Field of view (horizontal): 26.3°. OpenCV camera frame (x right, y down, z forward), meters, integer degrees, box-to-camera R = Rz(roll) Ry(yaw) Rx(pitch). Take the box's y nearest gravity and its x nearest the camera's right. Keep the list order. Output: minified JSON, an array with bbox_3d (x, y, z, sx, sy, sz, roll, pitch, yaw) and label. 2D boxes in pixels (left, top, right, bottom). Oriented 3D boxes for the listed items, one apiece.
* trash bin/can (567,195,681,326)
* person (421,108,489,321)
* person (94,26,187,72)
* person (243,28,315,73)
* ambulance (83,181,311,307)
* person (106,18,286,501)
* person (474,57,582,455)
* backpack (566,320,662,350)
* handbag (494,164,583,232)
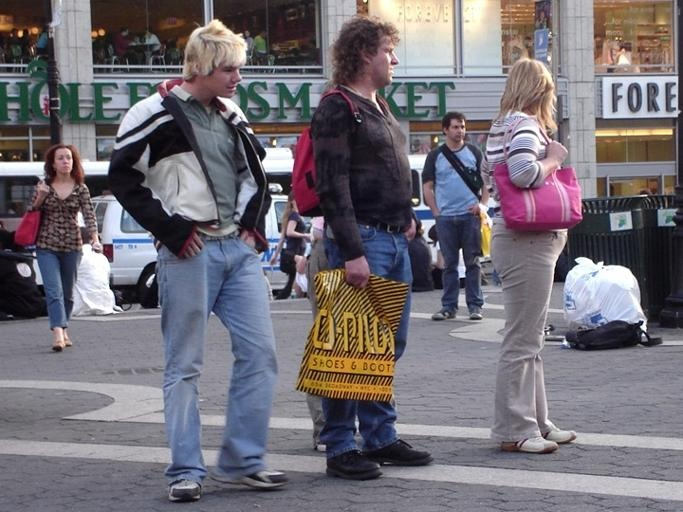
[{"bbox_3d":[3.396,0.052,17.747,1.107,1.515,1.373,-2,2,-8],"label":"trash bin/can"},{"bbox_3d":[1.412,-0.490,18.212,0.933,2.539,0.626,-2,2,11],"label":"person"},{"bbox_3d":[-4.715,-4.679,33.089,1.791,0.956,0.683,-12,15,-43],"label":"person"},{"bbox_3d":[-1.466,-4.787,34.536,1.887,1.180,0.420,0,2,-18],"label":"person"},{"bbox_3d":[-2.847,-0.070,24.500,4.181,1.656,1.940,-1,2,-8],"label":"ambulance"},{"bbox_3d":[-1.141,0.073,11.900,1.159,3.781,0.549,-3,4,-7],"label":"person"},{"bbox_3d":[1.705,-0.006,12.933,0.966,3.445,1.281,0,0,-2],"label":"person"},{"bbox_3d":[2.941,0.901,16.124,0.636,0.211,0.470,-1,-3,-8],"label":"backpack"},{"bbox_3d":[1.734,-0.478,12.608,0.381,0.602,0.674,-4,12,-28],"label":"handbag"}]
